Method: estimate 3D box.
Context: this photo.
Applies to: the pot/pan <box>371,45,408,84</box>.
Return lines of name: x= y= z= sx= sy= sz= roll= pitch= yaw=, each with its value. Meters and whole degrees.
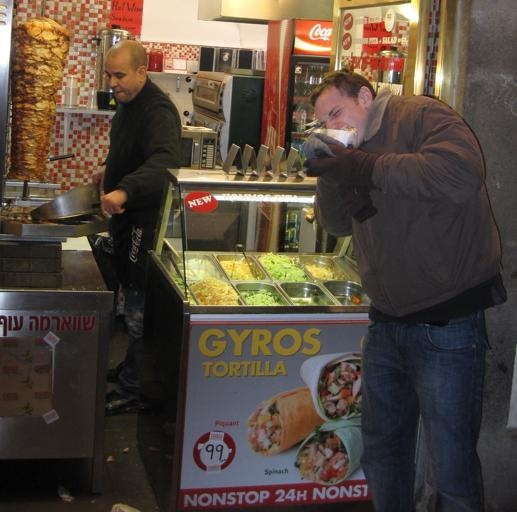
pot/pan: x=0.973 y=-1.396 z=3.730 sx=0.277 sy=0.384 sz=0.285 roll=5 pitch=14 yaw=25

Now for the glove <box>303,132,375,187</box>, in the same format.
glove: x=0.211 y=-0.231 z=1.325 sx=0.156 sy=0.068 sz=0.139 roll=15 pitch=40 yaw=-13

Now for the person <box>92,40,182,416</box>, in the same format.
person: x=-0.727 y=-0.194 z=3.018 sx=0.517 sy=2.253 sz=1.096 roll=-1 pitch=9 yaw=-19

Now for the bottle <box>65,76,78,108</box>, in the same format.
bottle: x=-2.131 y=-1.863 z=5.637 sx=0.161 sy=0.364 sz=0.318 roll=-2 pitch=10 yaw=-20

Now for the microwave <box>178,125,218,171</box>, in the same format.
microwave: x=-0.619 y=-1.048 z=4.779 sx=0.260 sy=0.413 sz=0.431 roll=-1 pitch=12 yaw=-16

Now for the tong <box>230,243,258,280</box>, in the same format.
tong: x=-0.054 y=0.020 z=2.313 sx=0.111 sy=0.151 sz=0.056 roll=2 pitch=9 yaw=-2
